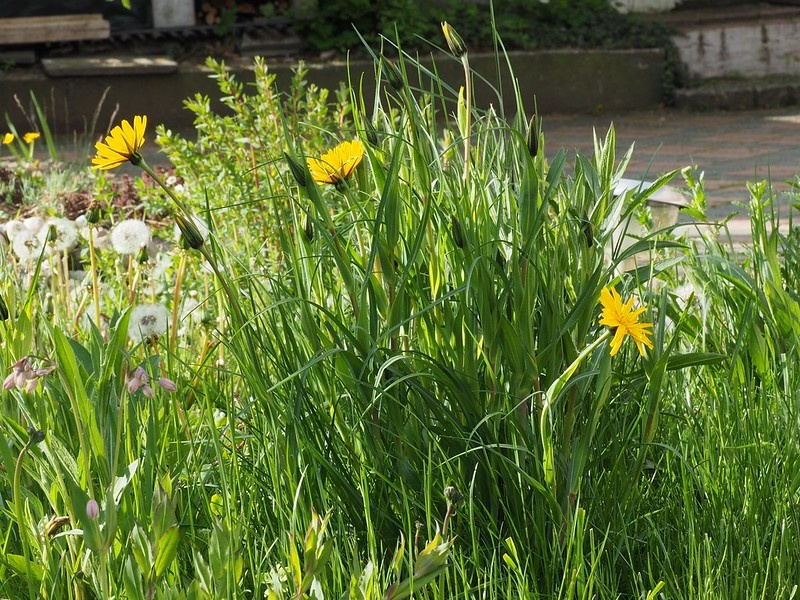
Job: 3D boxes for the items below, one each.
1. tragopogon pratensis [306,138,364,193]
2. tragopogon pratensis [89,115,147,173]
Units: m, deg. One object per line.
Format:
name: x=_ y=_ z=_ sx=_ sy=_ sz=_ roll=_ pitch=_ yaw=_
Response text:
tragopogon pratensis: x=-0.139 y=-0.294 z=2.705 sx=0.132 sy=0.104 sz=0.147 roll=-6 pitch=5 yaw=-4
tragopogon pratensis: x=-0.625 y=-0.336 z=2.695 sx=0.151 sy=0.051 sz=0.143 roll=-56 pitch=5 yaw=-13
